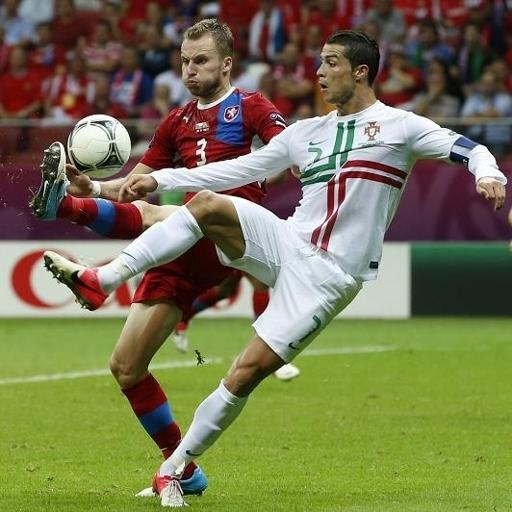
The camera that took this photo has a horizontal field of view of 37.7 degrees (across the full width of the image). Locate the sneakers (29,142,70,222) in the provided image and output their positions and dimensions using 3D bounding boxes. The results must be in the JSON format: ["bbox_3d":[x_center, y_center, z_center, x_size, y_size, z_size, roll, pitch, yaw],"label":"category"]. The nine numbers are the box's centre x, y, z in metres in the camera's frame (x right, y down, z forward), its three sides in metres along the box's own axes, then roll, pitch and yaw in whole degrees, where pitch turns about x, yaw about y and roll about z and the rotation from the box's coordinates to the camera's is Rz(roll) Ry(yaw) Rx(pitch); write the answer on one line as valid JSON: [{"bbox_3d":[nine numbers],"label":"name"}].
[{"bbox_3d":[-0.953,-0.329,3.360,0.145,0.345,0.173,15,17,23],"label":"sneakers"}]

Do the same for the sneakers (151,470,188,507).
[{"bbox_3d":[-0.378,1.040,3.316,0.120,0.106,0.244,-1,1,-18],"label":"sneakers"}]

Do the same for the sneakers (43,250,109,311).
[{"bbox_3d":[-0.764,0.105,3.187,0.268,0.253,0.168,-1,1,-11],"label":"sneakers"}]
